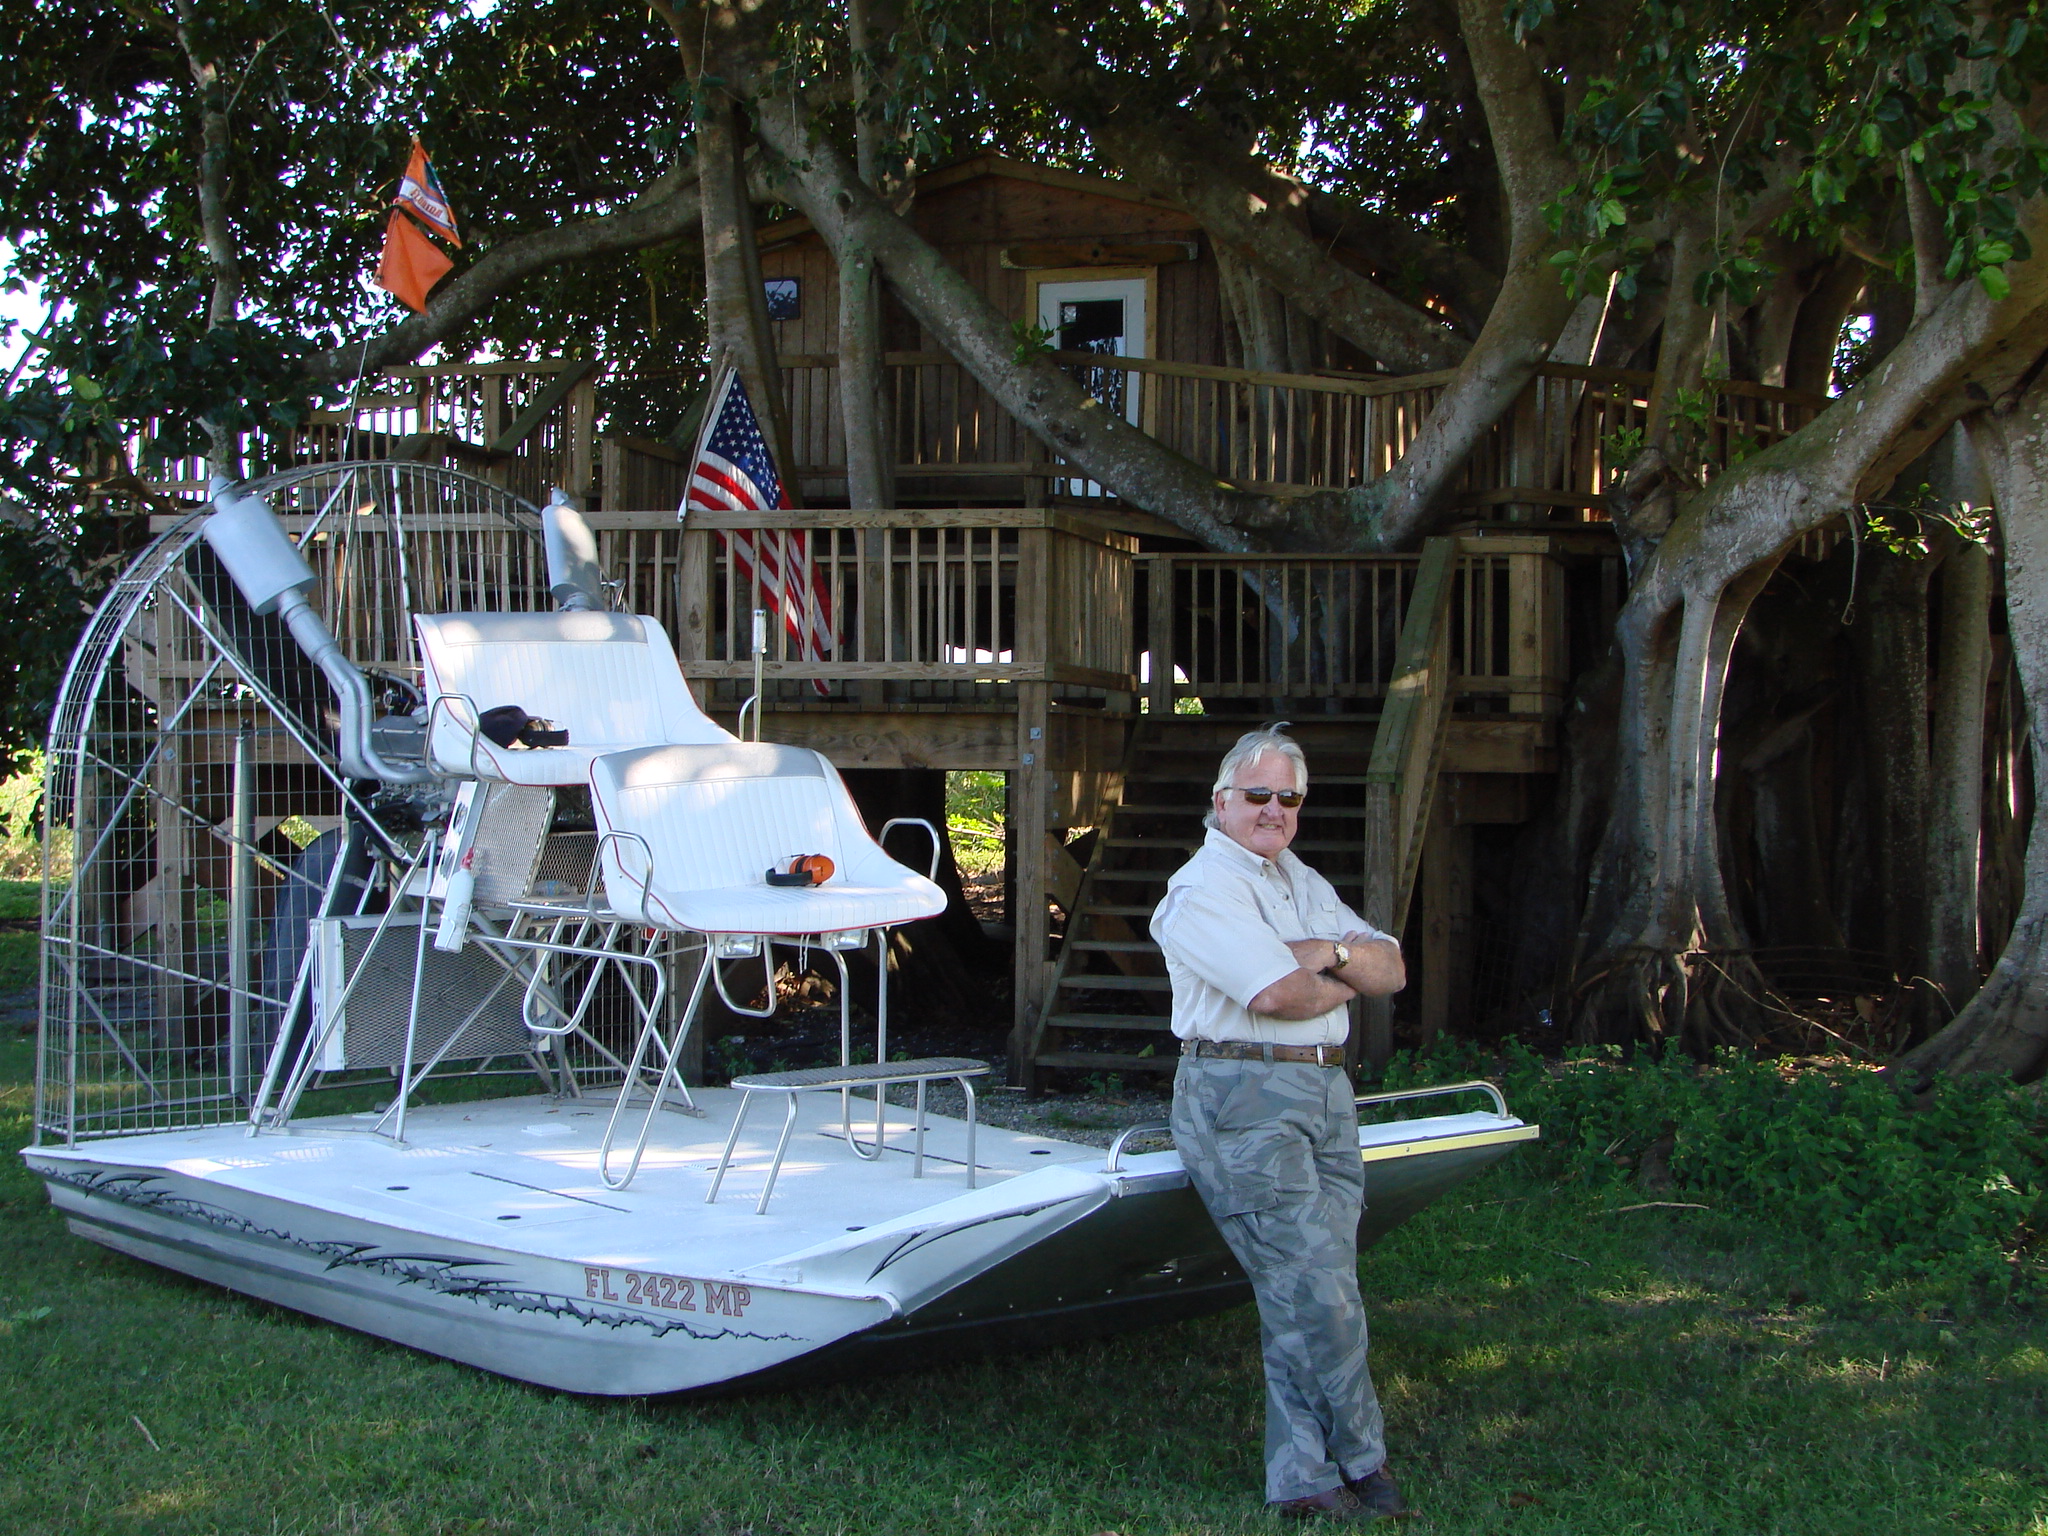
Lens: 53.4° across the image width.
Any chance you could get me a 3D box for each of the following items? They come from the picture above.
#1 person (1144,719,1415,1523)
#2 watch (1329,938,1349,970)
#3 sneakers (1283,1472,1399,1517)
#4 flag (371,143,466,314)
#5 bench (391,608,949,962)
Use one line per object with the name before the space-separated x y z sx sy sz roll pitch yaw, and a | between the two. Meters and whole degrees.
person | 0.940 1.269 7.519 0.906 2.700 1.200 0 10 -1
watch | 1.168 0.689 7.523 0.068 0.081 0.083 22 -8 18
sneakers | 1.124 2.586 7.184 0.418 0.110 0.133 -1 10 -12
flag | -4.251 -3.806 14.201 0.503 1.137 1.140 -2 10 -17
bench | -1.701 0.059 9.636 1.509 1.365 2.454 1 5 -40
